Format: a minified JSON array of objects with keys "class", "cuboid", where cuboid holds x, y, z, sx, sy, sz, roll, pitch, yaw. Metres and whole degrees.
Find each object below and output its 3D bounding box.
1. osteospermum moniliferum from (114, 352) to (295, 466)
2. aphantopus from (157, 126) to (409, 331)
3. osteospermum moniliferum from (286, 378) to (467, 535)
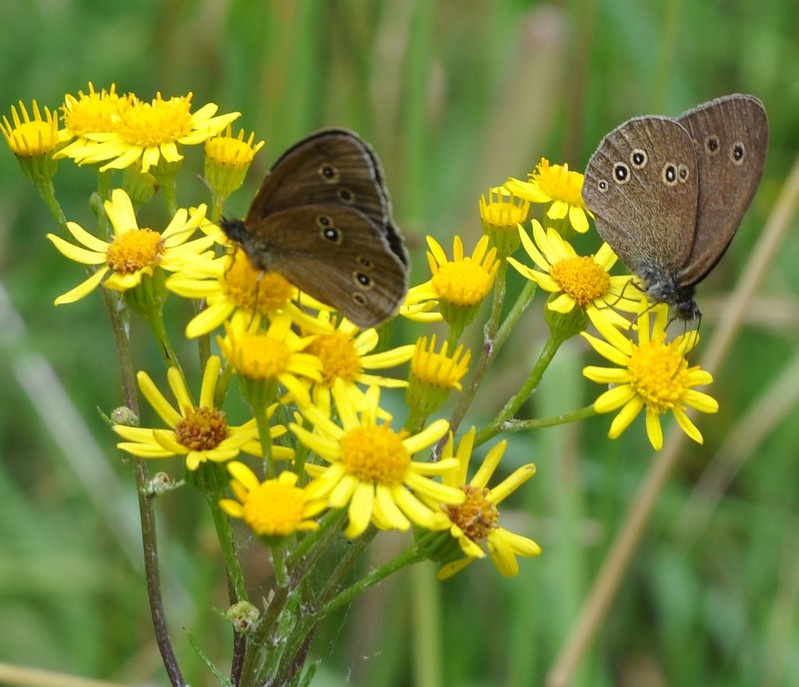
[{"class":"osteospermum moniliferum","cuboid":[-0.330,0.105,1.394,0.227,0.172,0.120,0,6,-10]},{"class":"aphantopus","cuboid":[-0.130,-0.177,1.385,0.290,0.302,0.117,4,7,27]},{"class":"osteospermum moniliferum","cuboid":[-0.025,0.093,1.348,0.166,0.318,0.246,-1,12,-8]}]
